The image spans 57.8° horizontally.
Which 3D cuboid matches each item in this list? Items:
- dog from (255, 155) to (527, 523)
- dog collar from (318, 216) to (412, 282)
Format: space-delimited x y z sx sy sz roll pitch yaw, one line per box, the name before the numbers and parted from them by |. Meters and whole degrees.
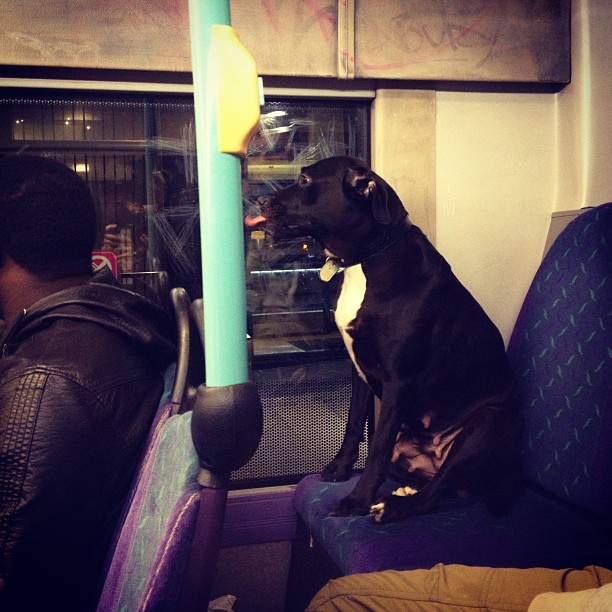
dog | 0.291 0.066 1.625 0.761 0.972 0.526 0 13 -2
dog collar | 0.182 -0.178 1.704 0.240 0.057 0.187 -33 -7 0
